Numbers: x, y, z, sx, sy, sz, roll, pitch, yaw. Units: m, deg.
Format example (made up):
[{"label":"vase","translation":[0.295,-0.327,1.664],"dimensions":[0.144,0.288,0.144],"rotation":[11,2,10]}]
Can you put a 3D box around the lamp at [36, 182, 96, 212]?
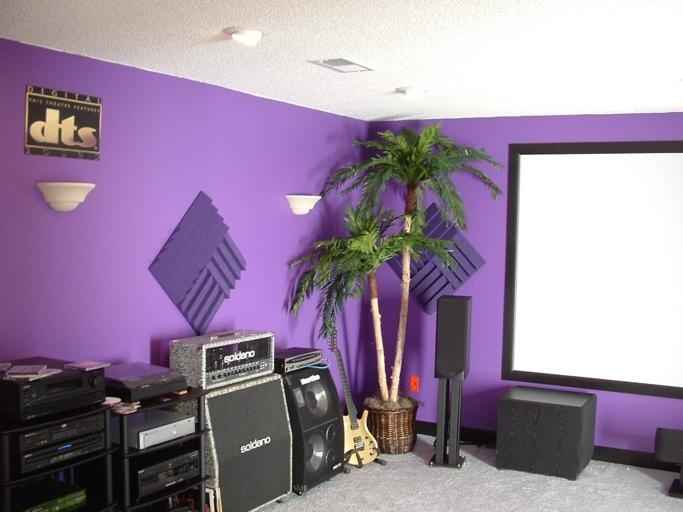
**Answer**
[{"label":"lamp","translation":[-1.653,-0.359,3.069],"dimensions":[0.296,0.177,0.236],"rotation":[-2,4,-37]}]

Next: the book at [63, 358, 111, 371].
[{"label":"book","translation":[-1.431,0.600,2.842],"dimensions":[0.198,0.039,0.178],"rotation":[2,3,25]}]

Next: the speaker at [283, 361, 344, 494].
[{"label":"speaker","translation":[-0.207,1.363,4.153],"dimensions":[0.237,0.950,0.548],"rotation":[3,4,35]}]

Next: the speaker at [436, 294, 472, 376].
[{"label":"speaker","translation":[0.999,0.711,4.570],"dimensions":[0.292,0.718,0.214],"rotation":[1,4,10]}]

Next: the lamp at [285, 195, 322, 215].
[{"label":"lamp","translation":[-0.312,-0.469,4.647],"dimensions":[0.253,0.191,0.439],"rotation":[2,3,24]}]

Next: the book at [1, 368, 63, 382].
[{"label":"book","translation":[-1.582,0.595,2.626],"dimensions":[0.265,0.044,0.131],"rotation":[-1,3,-36]}]
